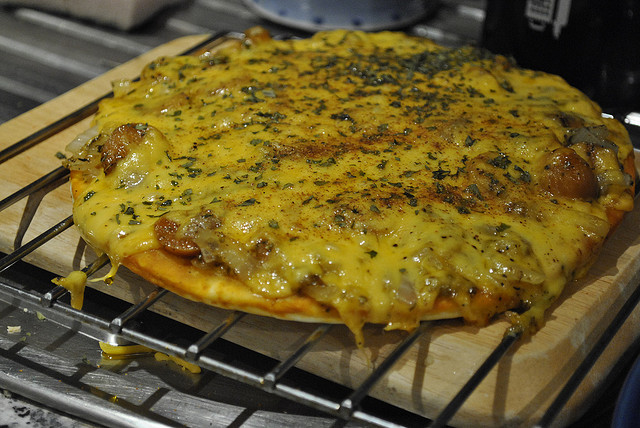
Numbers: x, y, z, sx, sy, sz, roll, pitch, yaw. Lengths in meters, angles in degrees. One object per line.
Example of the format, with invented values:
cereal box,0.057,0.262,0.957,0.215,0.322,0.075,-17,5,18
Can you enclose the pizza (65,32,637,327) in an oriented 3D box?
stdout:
pizza,0.112,-0.123,1.953,1.579,0.404,1.036,-4,34,-8
